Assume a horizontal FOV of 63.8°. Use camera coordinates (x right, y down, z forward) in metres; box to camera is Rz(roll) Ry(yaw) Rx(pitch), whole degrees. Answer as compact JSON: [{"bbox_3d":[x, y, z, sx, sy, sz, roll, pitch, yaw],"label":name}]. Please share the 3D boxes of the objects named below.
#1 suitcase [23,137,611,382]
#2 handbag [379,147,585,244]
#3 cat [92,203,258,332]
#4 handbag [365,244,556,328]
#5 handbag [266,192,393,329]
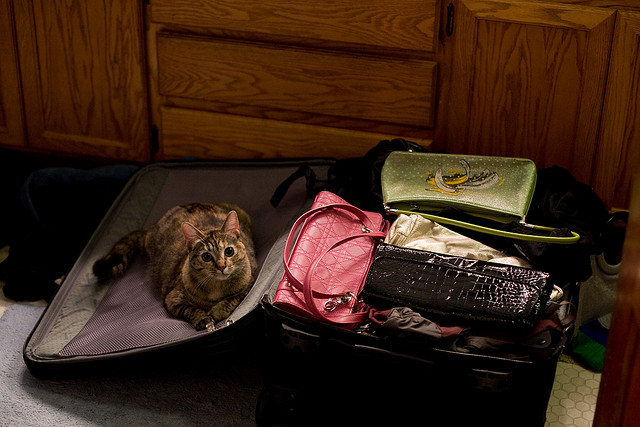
[{"bbox_3d":[-0.029,0.295,1.861,1.677,0.491,0.994,4,45,14],"label":"suitcase"},{"bbox_3d":[0.495,-0.062,1.766,0.533,0.122,0.285,9,48,22],"label":"handbag"},{"bbox_3d":[-0.501,0.140,1.938,0.634,0.319,0.735,-4,21,-24],"label":"cat"},{"bbox_3d":[0.359,0.198,1.400,0.402,0.093,0.187,13,51,20],"label":"handbag"},{"bbox_3d":[0.054,0.143,1.556,0.332,0.131,0.412,13,61,1],"label":"handbag"}]
